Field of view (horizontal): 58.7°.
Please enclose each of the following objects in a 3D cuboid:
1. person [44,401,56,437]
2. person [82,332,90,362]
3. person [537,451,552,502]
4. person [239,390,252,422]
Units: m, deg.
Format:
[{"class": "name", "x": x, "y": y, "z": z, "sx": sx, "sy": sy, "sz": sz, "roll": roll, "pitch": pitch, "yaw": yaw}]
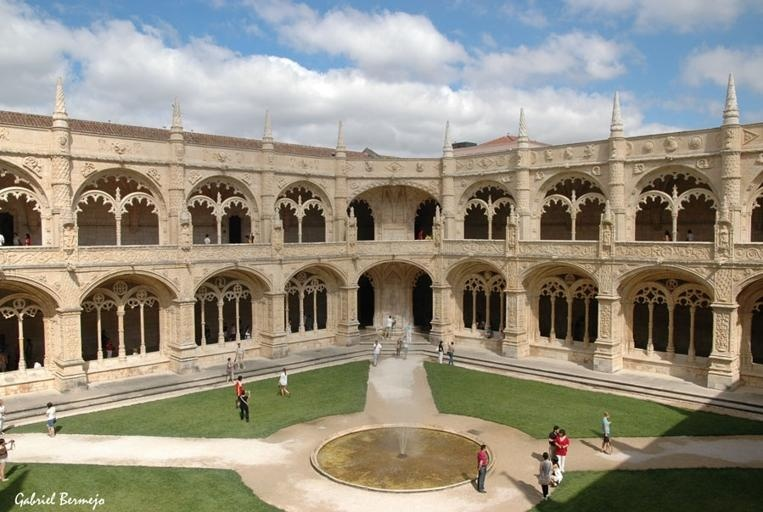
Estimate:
[{"class": "person", "x": -17.954, "y": 8.701, "z": 36.848, "sx": 0.466, "sy": 1.662, "sz": 1.271, "roll": -9, "pitch": 17, "yaw": -30}, {"class": "person", "x": -20.719, "y": 6.144, "z": 47.706, "sx": 0.659, "sy": 1.577, "sz": 1.015, "roll": -7, "pitch": 16, "yaw": -24}, {"class": "person", "x": 7.604, "y": 10.272, "z": 32.087, "sx": 0.749, "sy": 1.966, "sz": 0.819, "roll": 2, "pitch": -2, "yaw": -26}, {"class": "person", "x": -7.886, "y": 8.417, "z": 38.918, "sx": 0.578, "sy": 1.476, "sz": 1.638, "roll": -4, "pitch": 15, "yaw": -12}]
